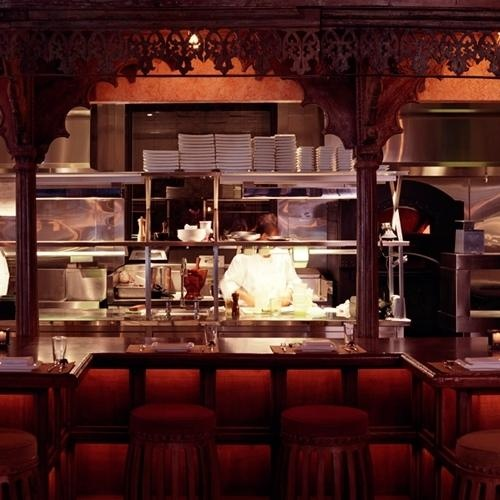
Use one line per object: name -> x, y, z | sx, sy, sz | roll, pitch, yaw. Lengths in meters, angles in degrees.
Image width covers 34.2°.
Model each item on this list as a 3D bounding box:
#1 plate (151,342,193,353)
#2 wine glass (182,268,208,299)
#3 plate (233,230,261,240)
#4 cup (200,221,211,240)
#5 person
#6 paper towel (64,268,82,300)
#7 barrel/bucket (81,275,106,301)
plate -> -0.441, 0.558, 4.591 | 0.232, 0.043, 0.201 | 0, -2, -2
wine glass -> -0.431, 0.271, 6.274 | 0.185, 0.246, 0.251 | 1, -3, -21
plate -> -0.023, -0.095, 6.244 | 0.199, 0.066, 0.190 | 0, -2, 0
cup -> -0.330, -0.141, 6.209 | 0.120, 0.148, 0.126 | 2, 1, 0
person -> 0.117, 0.105, 6.691 | 0.732, 0.792, 1.409 | 0, -2, -3
paper towel -> -1.480, 0.298, 6.714 | 0.124, 0.259, 0.076 | 0, -2, -14
barrel/bucket -> -1.291, 0.319, 6.758 | 0.223, 0.242, 0.171 | 1, 6, 2
